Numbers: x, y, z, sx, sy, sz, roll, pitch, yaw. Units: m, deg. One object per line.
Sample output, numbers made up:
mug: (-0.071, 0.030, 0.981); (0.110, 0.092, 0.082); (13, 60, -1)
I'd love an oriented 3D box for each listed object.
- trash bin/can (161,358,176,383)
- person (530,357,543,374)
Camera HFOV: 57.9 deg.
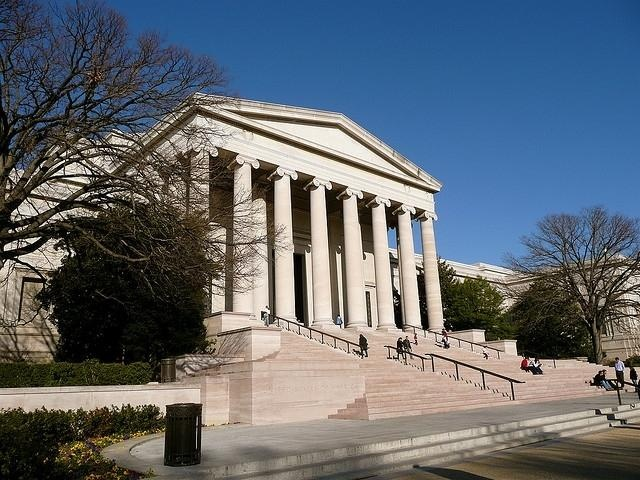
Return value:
trash bin/can: (-5.799, 5.037, 22.458); (0.557, 0.921, 0.338); (2, -17, -11)
person: (11.943, 7.000, 32.132); (0.630, 0.850, 1.368); (-6, -15, 17)
